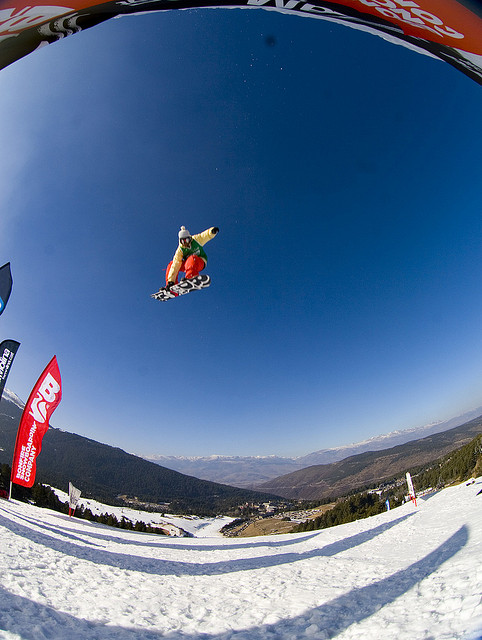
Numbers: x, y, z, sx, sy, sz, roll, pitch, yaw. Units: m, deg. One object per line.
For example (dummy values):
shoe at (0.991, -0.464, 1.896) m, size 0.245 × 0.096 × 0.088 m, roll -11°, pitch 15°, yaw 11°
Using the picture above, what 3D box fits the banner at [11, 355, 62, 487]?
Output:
banner at (-8.280, 4.205, 18.748) m, size 1.171 × 4.505 × 2.122 m, roll 17°, pitch -44°, yaw -22°

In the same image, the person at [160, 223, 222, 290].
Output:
person at (-1.598, -1.965, 14.341) m, size 1.053 × 0.997 × 2.251 m, roll 11°, pitch -41°, yaw -17°
